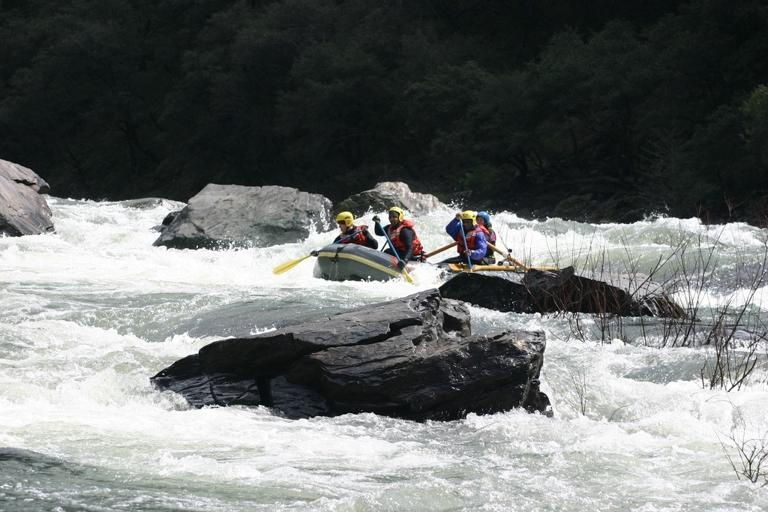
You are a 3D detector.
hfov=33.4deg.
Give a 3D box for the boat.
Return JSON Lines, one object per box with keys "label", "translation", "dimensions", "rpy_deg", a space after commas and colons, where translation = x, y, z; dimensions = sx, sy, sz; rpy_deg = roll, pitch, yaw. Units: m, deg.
{"label": "boat", "translation": [1.302, 0.202, 36.617], "dimensions": [6.703, 0.776, 3.988], "rpy_deg": [2, 4, 11]}
